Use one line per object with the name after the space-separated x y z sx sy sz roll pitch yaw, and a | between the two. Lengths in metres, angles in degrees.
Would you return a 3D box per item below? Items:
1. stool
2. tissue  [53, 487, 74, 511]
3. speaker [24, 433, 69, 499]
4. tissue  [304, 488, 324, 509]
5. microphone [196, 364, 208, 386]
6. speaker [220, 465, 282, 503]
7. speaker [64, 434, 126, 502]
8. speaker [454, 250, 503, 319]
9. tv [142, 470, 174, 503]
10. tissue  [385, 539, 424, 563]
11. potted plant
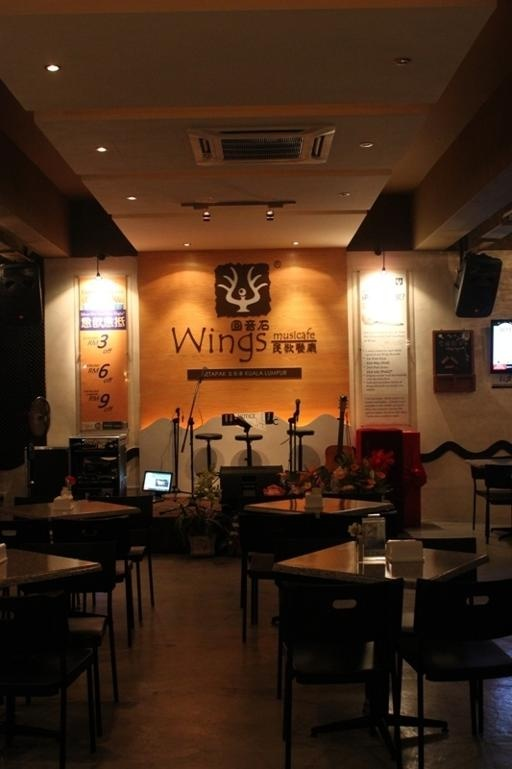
0.037 0.907 7.229 1.106 0.935 0.736 0 -1 1 | stool
-1.358 0.843 4.598 0.171 0.163 0.098 0 1 -4 | tissue 
-2.299 0.953 7.021 0.438 0.543 0.287 1 -2 -18 | speaker
0.389 0.778 4.230 0.116 0.119 0.114 1 -11 -1 | tissue 
-0.680 -0.106 8.052 0.110 0.196 0.051 5 -7 1 | microphone
-0.079 1.018 6.631 0.679 0.417 0.433 0 4 2 | speaker
-1.783 0.977 7.368 0.746 1.077 0.803 -1 -6 -5 | speaker
2.491 -1.115 7.137 0.446 0.644 0.573 0 -2 15 | speaker
-1.125 1.187 7.300 0.481 0.437 0.216 -3 -18 15 | tv
0.660 0.739 2.830 0.161 0.089 0.176 0 -2 12 | tissue 
-0.683 1.409 6.800 0.909 0.566 0.840 1 2 -3 | potted plant
